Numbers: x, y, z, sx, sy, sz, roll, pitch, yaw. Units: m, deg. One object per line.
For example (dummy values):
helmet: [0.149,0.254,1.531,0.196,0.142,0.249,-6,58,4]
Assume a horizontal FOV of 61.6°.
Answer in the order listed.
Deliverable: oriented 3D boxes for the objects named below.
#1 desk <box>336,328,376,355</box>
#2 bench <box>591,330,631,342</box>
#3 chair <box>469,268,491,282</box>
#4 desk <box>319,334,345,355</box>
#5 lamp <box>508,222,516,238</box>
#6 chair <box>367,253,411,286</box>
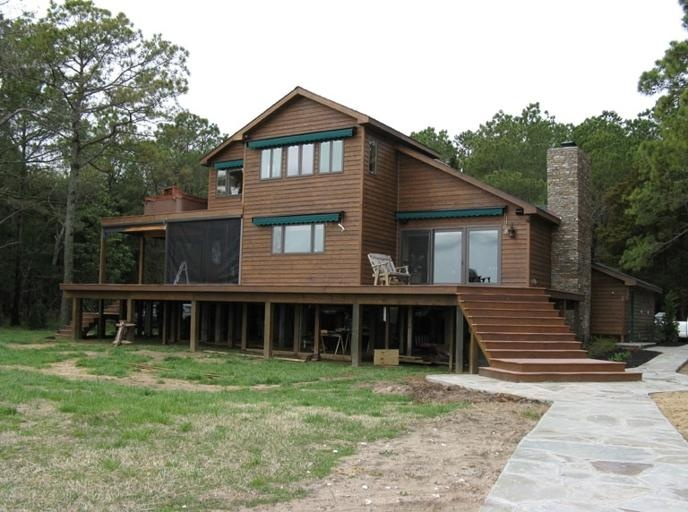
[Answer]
desk: [0.418,3.283,22.691,1.676,1.052,0.962,-4,-9,32]
bench: [12.117,3.669,26.635,1.297,0.397,2.415,-5,-11,38]
chair: [4.911,0.693,20.995,0.560,0.328,0.531,4,-5,-44]
desk: [-0.415,3.484,22.875,1.038,0.964,0.859,-3,-13,27]
lamp: [5.906,-0.917,20.439,0.276,0.529,0.149,0,-8,16]
chair: [1.586,0.496,20.377,1.417,1.142,1.267,3,1,39]
